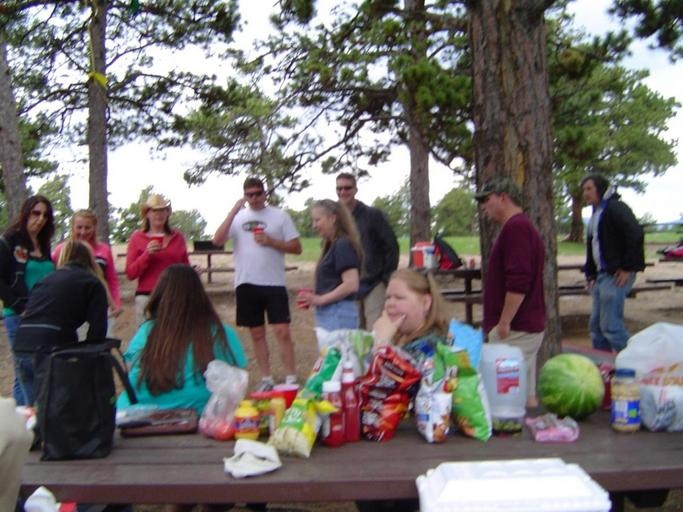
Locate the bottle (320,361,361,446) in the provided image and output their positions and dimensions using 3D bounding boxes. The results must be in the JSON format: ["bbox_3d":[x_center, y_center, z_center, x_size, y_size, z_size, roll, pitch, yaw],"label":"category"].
[{"bbox_3d":[-0.016,0.771,3.534,0.174,0.451,0.187,3,1,0],"label":"bottle"}]

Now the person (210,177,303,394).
[{"bbox_3d":[-0.864,0.165,6.539,0.873,2.717,0.904,-1,1,-14],"label":"person"}]

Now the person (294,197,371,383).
[{"bbox_3d":[-0.029,0.261,5.349,0.388,1.402,0.410,-1,1,-25],"label":"person"}]

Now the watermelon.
[{"bbox_3d":[1.315,0.717,3.803,0.341,0.350,0.340,-31,-23,-12],"label":"watermelon"}]

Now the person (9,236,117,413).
[{"bbox_3d":[-2.163,0.395,5.137,0.560,1.948,0.668,-1,1,-25],"label":"person"}]

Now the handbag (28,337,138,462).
[{"bbox_3d":[-1.356,0.762,3.485,0.413,0.592,0.538,-1,-2,2],"label":"handbag"}]
